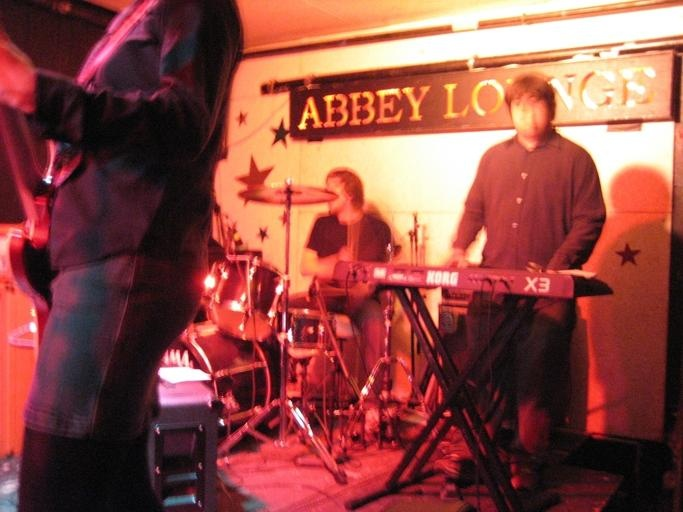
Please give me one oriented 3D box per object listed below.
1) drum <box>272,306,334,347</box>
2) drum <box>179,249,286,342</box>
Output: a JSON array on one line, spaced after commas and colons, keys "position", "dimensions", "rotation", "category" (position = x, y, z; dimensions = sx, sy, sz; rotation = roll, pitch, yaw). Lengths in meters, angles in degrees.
[{"position": [-0.219, 0.457, 4.229], "dimensions": [0.230, 0.250, 0.246], "rotation": [0, -7, 6], "category": "drum"}, {"position": [-0.638, 0.325, 4.467], "dimensions": [0.520, 0.441, 0.551], "rotation": [-21, -30, 19], "category": "drum"}]
